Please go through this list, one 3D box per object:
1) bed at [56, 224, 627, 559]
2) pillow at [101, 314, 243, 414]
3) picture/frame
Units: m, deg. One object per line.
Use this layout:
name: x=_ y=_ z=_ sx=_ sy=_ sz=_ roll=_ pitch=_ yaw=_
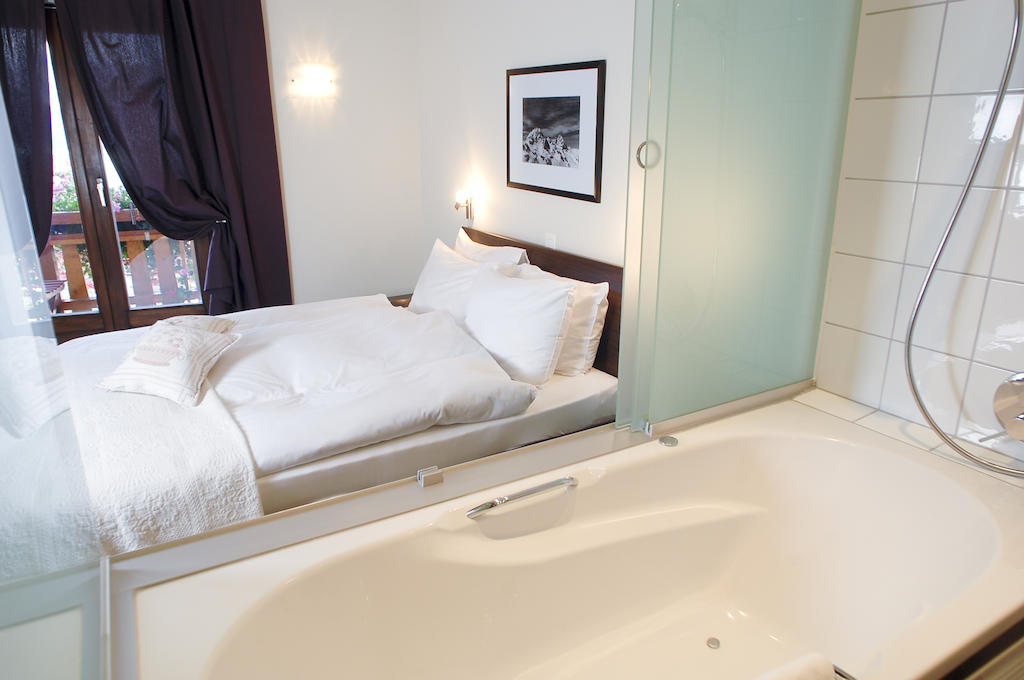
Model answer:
bed: x=-0.556 y=0.197 z=2.472 sx=1.383 sy=0.461 sz=1.079 roll=-9 pitch=28 yaw=-32
pillow: x=-1.186 y=0.080 z=2.414 sx=0.248 sy=0.101 sz=0.328 roll=15 pitch=34 yaw=0
picture/frame: x=0.226 y=-0.983 z=3.103 sx=0.023 sy=0.634 sz=0.610 roll=-16 pitch=26 yaw=-40
